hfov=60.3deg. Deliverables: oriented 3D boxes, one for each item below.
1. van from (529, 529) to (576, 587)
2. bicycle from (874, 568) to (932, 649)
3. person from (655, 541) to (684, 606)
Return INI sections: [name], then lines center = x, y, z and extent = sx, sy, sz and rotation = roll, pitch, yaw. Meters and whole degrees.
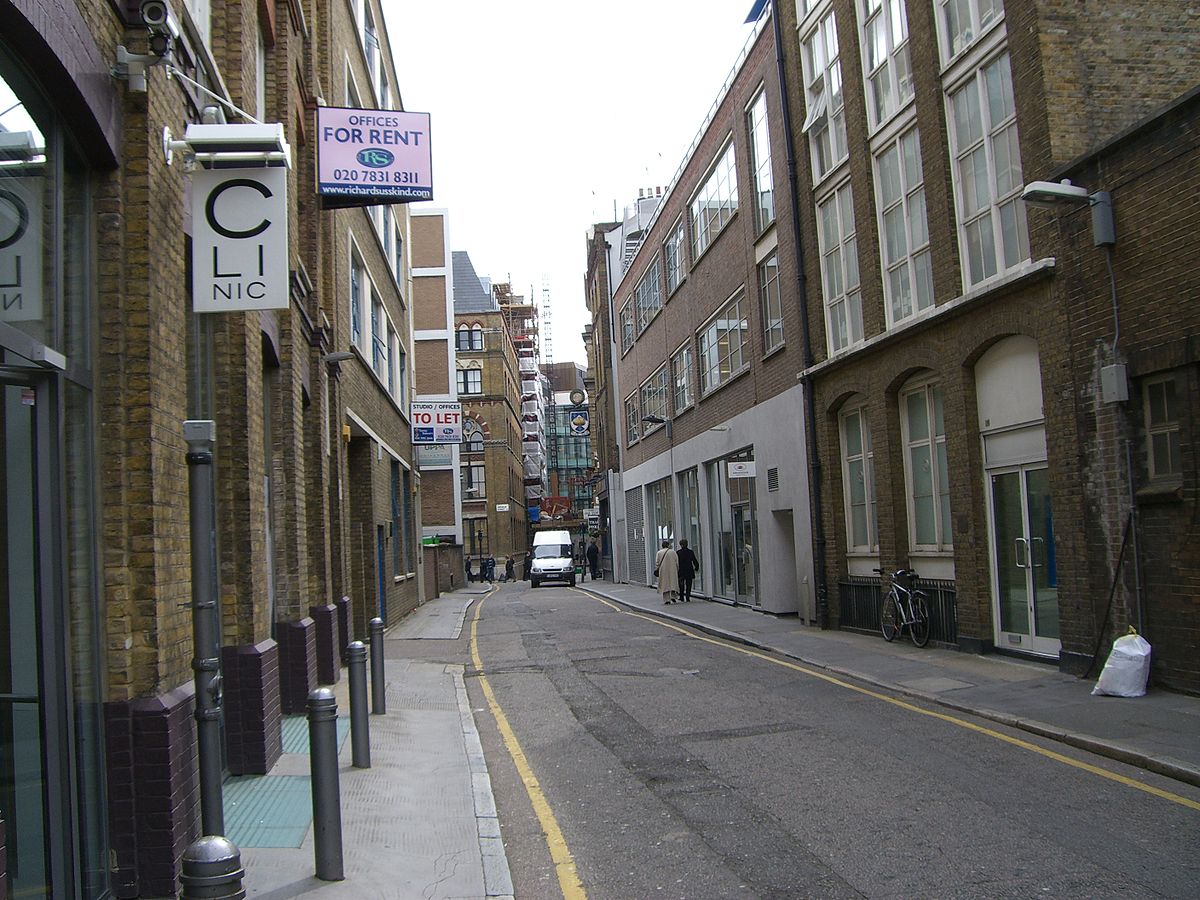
[van]
center = -2.259, 5.080, 48.674
extent = 1.963, 2.620, 2.903
rotation = -1, -8, -7
[bicycle]
center = 5.145, 2.665, 17.459
extent = 0.687, 1.192, 1.849
rotation = -1, -5, -11
[person]
center = 1.942, 3.441, 30.130
extent = 0.585, 1.807, 0.566
rotation = -4, 21, 2
